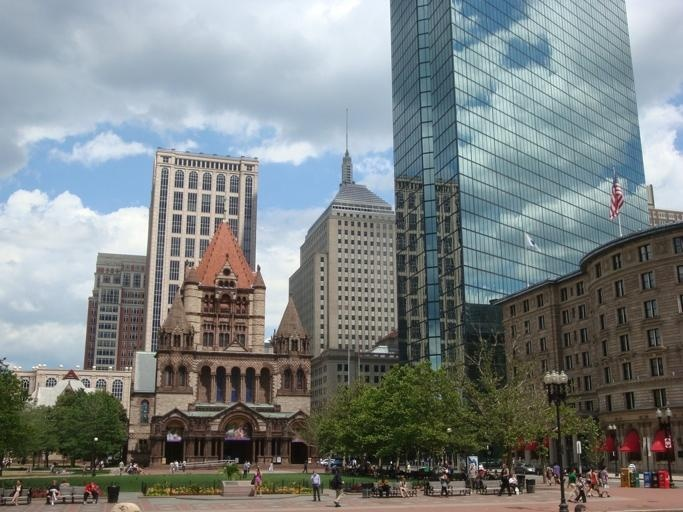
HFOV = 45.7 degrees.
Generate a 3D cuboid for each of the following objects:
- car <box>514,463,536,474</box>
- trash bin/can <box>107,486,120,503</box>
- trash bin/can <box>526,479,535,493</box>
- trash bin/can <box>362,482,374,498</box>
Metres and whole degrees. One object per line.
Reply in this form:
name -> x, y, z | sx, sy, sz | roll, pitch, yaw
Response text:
car -> 24.302, 28.650, 108.811 | 1.448, 1.203, 2.368 | 15, -29, -33
trash bin/can -> -21.465, 22.608, 76.894 | 1.372, 1.563, 1.430 | -3, -8, 17
trash bin/can -> 19.182, 23.452, 82.530 | 0.835, 1.328, 1.762 | -3, -16, 8
trash bin/can -> 2.578, 23.715, 81.584 | 0.658, 0.896, 1.166 | -5, -11, 14
